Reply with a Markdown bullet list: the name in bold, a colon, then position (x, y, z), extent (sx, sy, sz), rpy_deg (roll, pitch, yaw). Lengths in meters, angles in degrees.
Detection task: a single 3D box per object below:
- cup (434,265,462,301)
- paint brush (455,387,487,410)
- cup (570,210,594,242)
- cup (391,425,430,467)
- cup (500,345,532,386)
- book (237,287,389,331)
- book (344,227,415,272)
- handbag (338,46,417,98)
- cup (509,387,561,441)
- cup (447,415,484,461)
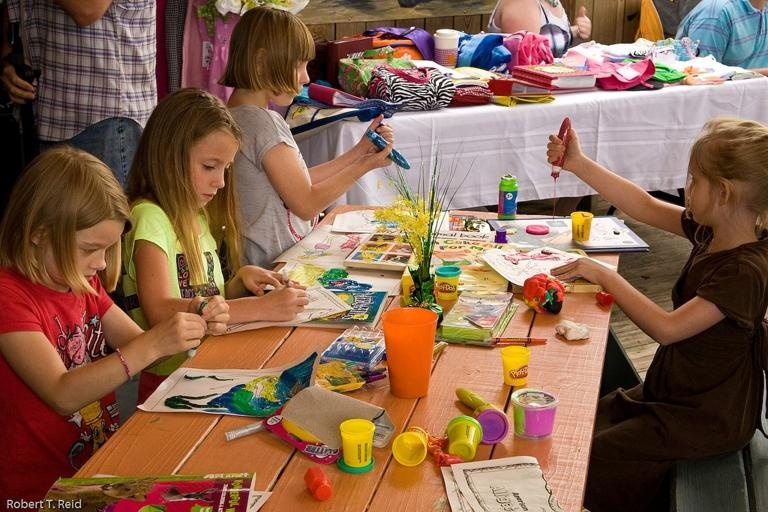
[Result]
- **cup**: position (0.216, 0.097, 1.662), extent (0.089, 0.088, 0.085), rpy_deg (0, 4, 0)
- **paint brush**: position (0.199, 0.327, 1.127), extent (0.093, 0.031, 0.031), rpy_deg (17, -15, 48)
- **cup**: position (0.790, -0.103, 1.995), extent (0.086, 0.086, 0.081), rpy_deg (-2, 1, 0)
- **cup**: position (0.052, 0.388, 1.004), extent (0.065, 0.064, 0.051), rpy_deg (5, 17, 23)
- **cup**: position (0.325, 0.279, 1.236), extent (0.082, 0.078, 0.081), rpy_deg (-3, 3, 0)
- **book**: position (-0.158, 0.156, 1.630), extent (0.339, 0.036, 0.357), rpy_deg (2, 17, 14)
- **book**: position (-0.015, -0.011, 1.912), extent (0.151, 0.037, 0.219), rpy_deg (4, 23, 13)
- **handbag**: position (0.022, -1.296, 3.516), extent (0.513, 0.303, 0.565), rpy_deg (19, 25, 41)
- **cup**: position (0.329, 0.341, 1.078), extent (0.108, 0.074, 0.101), rpy_deg (-2, 6, 0)
- **cup**: position (0.162, 0.372, 1.006), extent (0.066, 0.074, 0.058), rpy_deg (0, 17, 10)
